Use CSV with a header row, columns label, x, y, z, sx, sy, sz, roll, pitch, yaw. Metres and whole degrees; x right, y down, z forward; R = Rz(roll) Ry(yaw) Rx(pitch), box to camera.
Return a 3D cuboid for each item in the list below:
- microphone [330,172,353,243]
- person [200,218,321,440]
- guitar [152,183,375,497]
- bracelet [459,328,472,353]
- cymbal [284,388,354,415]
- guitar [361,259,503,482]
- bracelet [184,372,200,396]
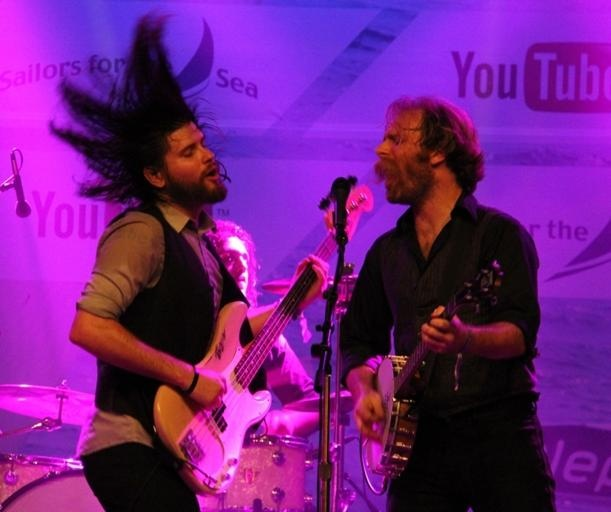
label,x,y,z,sx,sy,sz,roll,pitch,yaw
microphone,0.188,-0.243,3.516,0.093,0.343,0.102,1,-26,1
person,-0.271,0.649,5.214,0.175,1.845,0.685,-12,-10,40
guitar,-0.124,0.322,3.125,0.528,1.860,0.185,41,25,15
bracelet,0.617,0.329,2.630,0.021,0.090,0.065,25,-8,19
cymbal,0.097,0.983,4.573,0.575,0.248,0.064,-12,-46,42
guitar,0.464,0.547,2.891,0.114,1.072,0.399,4,35,-28
bracelet,-0.484,0.558,2.986,0.021,0.095,0.088,19,35,-6
